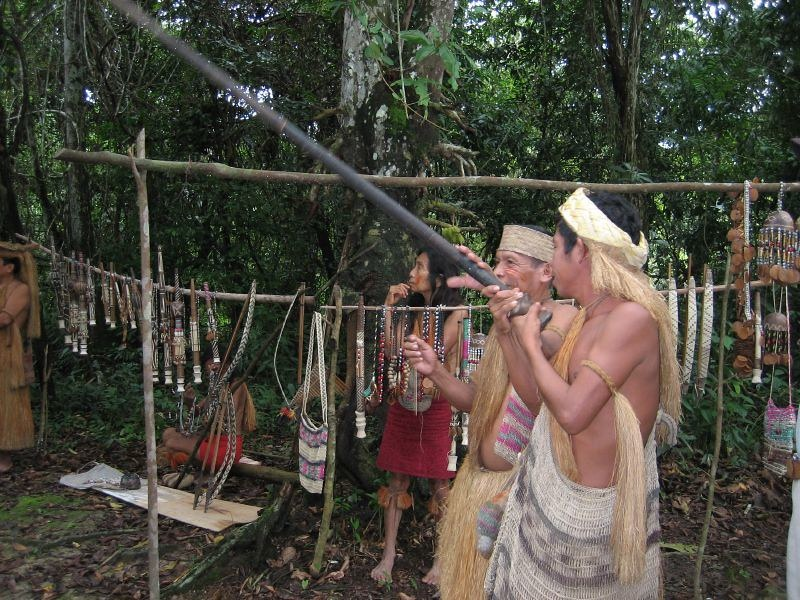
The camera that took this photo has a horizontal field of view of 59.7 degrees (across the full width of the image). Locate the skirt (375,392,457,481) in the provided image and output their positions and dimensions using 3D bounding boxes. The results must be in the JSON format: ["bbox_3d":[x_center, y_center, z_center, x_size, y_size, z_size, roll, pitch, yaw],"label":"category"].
[{"bbox_3d":[0.124,1.024,5.794,0.626,0.902,0.482,5,30,-3],"label":"skirt"}]

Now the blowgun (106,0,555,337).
[{"bbox_3d":[-0.388,-0.738,3.398,1.872,1.233,0.322,3,3,-1],"label":"blowgun"}]

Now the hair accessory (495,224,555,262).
[{"bbox_3d":[0.797,-0.390,4.216,0.362,0.226,0.303,7,14,-11],"label":"hair accessory"}]

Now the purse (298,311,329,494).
[{"bbox_3d":[-0.695,0.860,5.645,0.232,1.525,0.570,2,3,-8],"label":"purse"}]

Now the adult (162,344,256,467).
[{"bbox_3d":[-1.966,1.200,7.256,0.863,1.566,0.797,12,-2,-33],"label":"adult"}]
